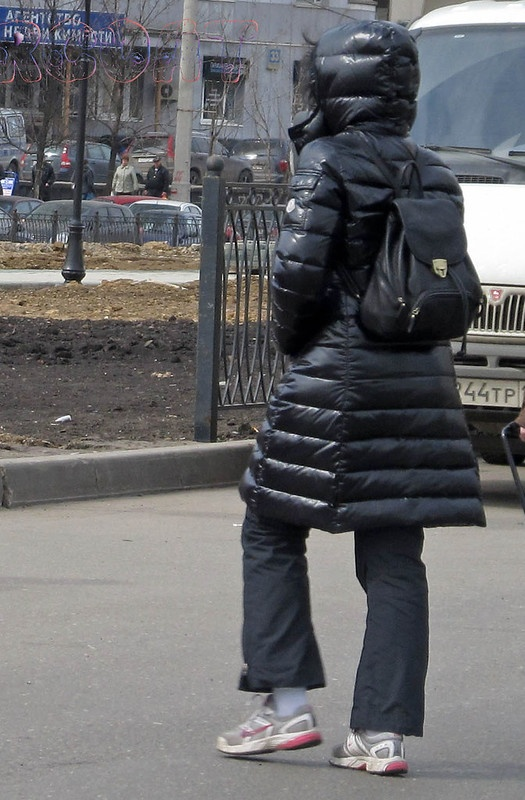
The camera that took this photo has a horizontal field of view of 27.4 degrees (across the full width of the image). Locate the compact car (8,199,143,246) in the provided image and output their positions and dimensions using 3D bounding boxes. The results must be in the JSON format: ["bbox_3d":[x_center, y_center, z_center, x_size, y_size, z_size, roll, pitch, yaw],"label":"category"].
[{"bbox_3d":[-3.969,-3.848,23.141,2.264,1.211,3.307,3,4,13],"label":"compact car"}]

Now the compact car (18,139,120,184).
[{"bbox_3d":[-6.064,-7.509,34.609,1.989,1.665,4.226,5,13,28],"label":"compact car"}]

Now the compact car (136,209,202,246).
[{"bbox_3d":[-2.141,-3.957,24.574,1.423,0.979,2.485,2,4,-3],"label":"compact car"}]

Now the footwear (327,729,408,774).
[{"bbox_3d":[0.245,0.808,2.526,0.088,0.098,0.214,-5,5,-38],"label":"footwear"}]

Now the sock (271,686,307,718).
[{"bbox_3d":[0.063,0.702,2.491,0.054,0.086,0.095,-3,9,-19],"label":"sock"}]

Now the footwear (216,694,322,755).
[{"bbox_3d":[0.026,0.790,2.587,0.296,0.132,0.111,-11,-14,33],"label":"footwear"}]

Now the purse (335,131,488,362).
[{"bbox_3d":[0.355,-0.372,2.475,0.286,0.490,0.356,5,5,34],"label":"purse"}]
